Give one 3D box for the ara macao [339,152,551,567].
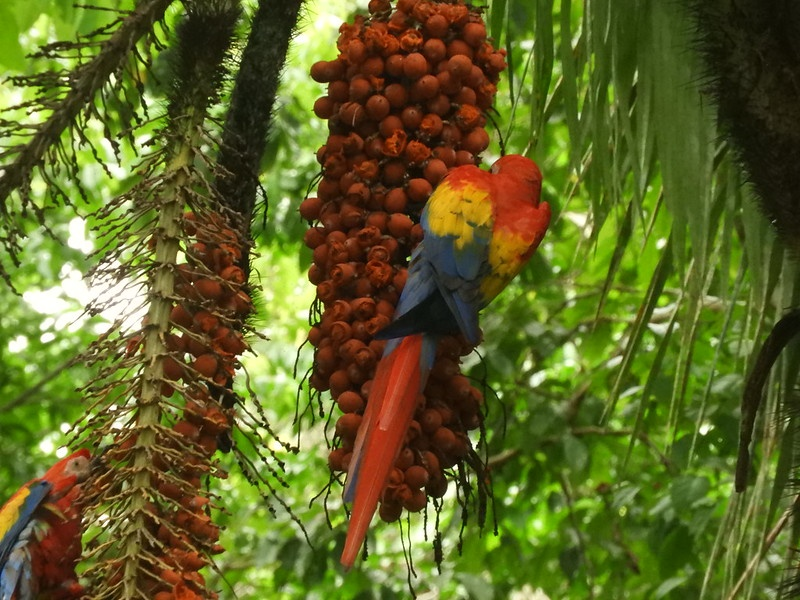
[{"bbox_3d":[0.062,0.064,2.013,0.329,0.846,0.229,-15,-40,35],"label":"ara macao"}]
